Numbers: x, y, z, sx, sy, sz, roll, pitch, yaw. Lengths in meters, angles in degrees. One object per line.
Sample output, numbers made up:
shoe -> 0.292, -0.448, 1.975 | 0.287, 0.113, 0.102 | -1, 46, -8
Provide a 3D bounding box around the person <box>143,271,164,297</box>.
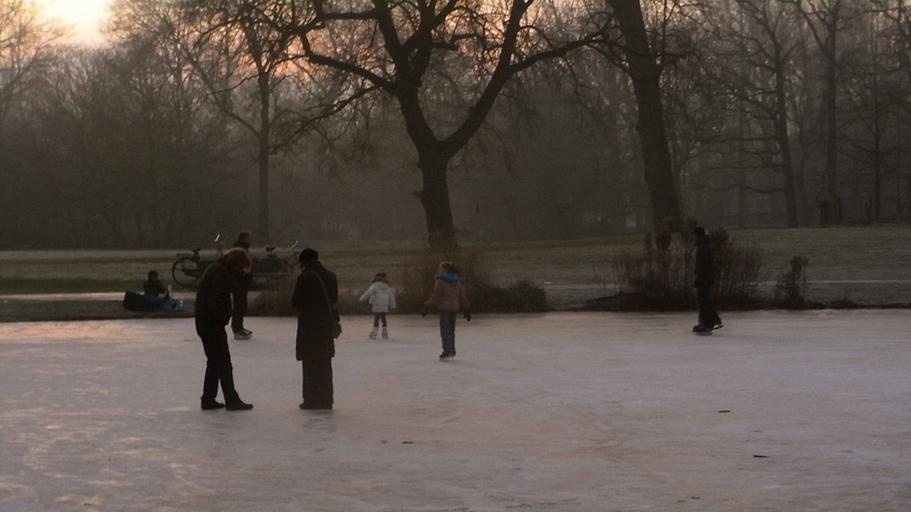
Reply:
person -> -13.126, 1.245, 64.011 | 0.904, 1.112, 1.948 | -1, 1, -12
